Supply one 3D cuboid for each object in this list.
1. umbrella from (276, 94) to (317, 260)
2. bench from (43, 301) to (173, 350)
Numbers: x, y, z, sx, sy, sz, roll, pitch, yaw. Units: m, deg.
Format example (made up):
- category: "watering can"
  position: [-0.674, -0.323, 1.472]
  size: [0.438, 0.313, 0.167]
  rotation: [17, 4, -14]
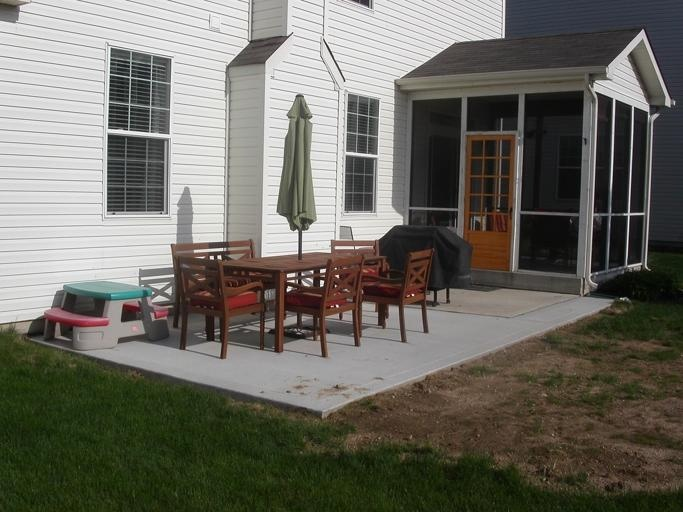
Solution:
- category: "umbrella"
  position: [-0.575, -1.017, 6.858]
  size: [0.492, 2.112, 0.325]
  rotation: [1, 8, -9]
- category: "bench"
  position: [-2.796, 0.835, 6.368]
  size: [0.797, 0.371, 0.820]
  rotation: [1, 0, 42]
